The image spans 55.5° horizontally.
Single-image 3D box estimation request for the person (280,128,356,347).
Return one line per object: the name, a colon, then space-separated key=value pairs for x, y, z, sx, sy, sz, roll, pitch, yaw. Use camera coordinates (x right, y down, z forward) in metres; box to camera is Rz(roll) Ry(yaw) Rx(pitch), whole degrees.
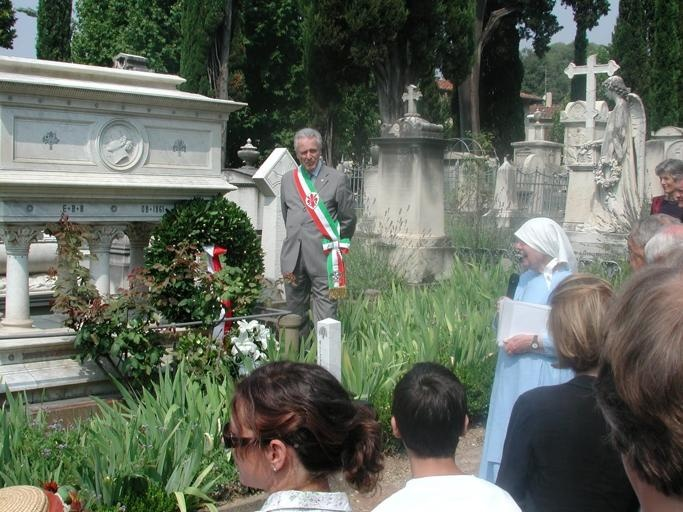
person: x=-0.230 y=-0.209 z=6.261 sx=0.751 sy=1.974 sz=0.607 roll=-3 pitch=3 yaw=-2
